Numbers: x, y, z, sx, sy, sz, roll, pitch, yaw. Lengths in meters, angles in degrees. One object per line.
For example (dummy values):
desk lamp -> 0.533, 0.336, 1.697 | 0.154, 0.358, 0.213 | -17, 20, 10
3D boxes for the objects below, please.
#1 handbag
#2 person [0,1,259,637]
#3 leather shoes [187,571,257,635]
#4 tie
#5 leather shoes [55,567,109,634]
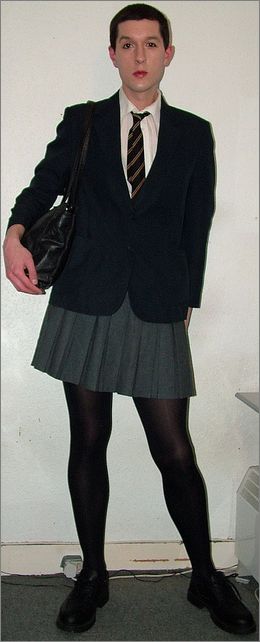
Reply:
handbag -> -0.172, -0.312, 1.215 | 0.109, 0.409, 0.319 | 12, 27, 27
person -> -0.008, 0.048, 1.265 | 0.583, 1.533, 0.655 | -3, 23, -8
leather shoes -> 0.244, 0.752, 1.377 | 0.083, 0.128, 0.226 | -3, 2, -29
tie -> 0.019, -0.419, 1.225 | 0.052, 0.186, 0.108 | 1, 23, 2
leather shoes -> -0.124, 0.755, 1.321 | 0.066, 0.101, 0.188 | 2, -11, 16
